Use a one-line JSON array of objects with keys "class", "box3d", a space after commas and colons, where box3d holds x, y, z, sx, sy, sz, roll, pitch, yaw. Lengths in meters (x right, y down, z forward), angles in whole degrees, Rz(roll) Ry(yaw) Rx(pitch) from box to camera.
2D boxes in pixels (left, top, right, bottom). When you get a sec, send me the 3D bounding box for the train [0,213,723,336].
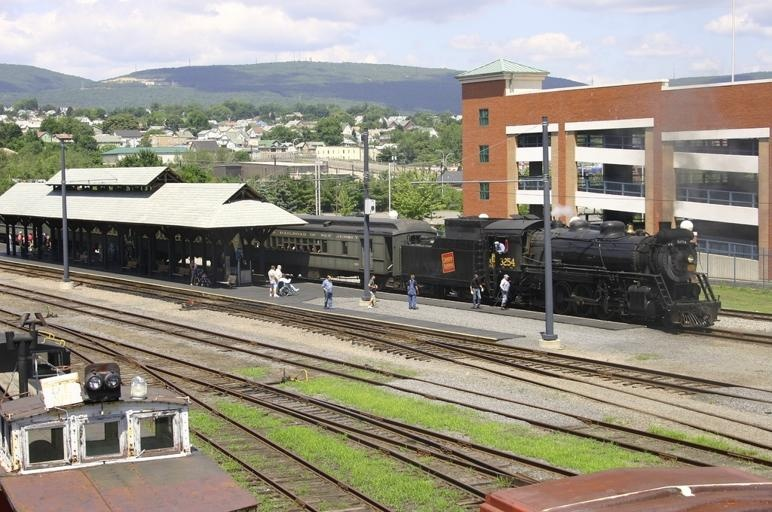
[{"class": "train", "box3d": [-0.971, 1.186, 48.815, 40.300, 5.503, 5.276, 5, 3, 40]}]
